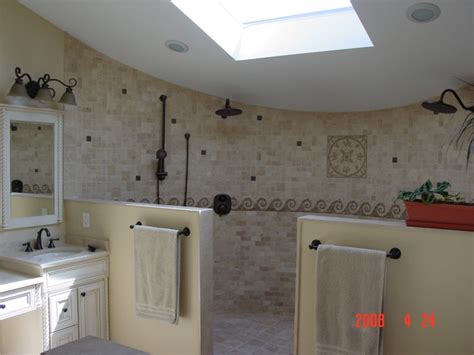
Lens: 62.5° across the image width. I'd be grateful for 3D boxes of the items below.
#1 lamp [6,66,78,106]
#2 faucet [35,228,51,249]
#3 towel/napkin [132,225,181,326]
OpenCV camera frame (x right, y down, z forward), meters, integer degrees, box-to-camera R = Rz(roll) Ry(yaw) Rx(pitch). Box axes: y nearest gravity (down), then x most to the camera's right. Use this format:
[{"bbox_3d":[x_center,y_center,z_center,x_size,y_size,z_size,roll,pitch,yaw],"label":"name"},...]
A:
[{"bbox_3d":[-1.870,-0.882,3.760,0.666,0.266,0.289,10,8,1],"label":"lamp"},{"bbox_3d":[-1.844,0.574,3.712,0.135,0.210,0.202,4,-2,-25],"label":"faucet"},{"bbox_3d":[-0.686,0.798,3.238,0.485,0.701,0.077,3,-2,30],"label":"towel/napkin"}]
